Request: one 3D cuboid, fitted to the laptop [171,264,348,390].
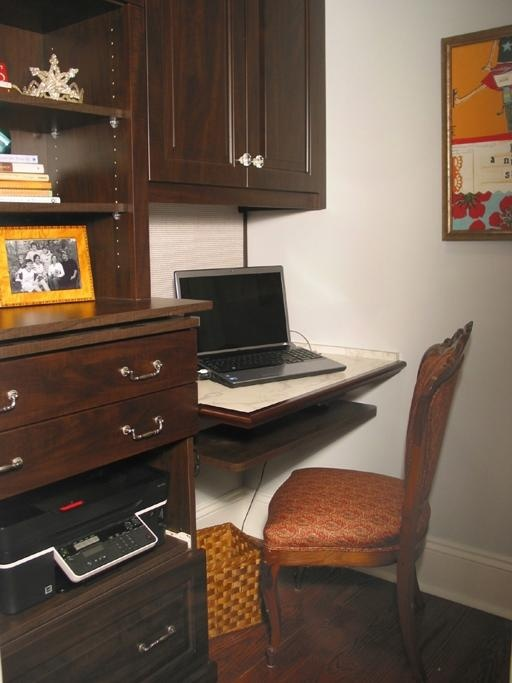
[{"bbox_3d":[0.026,-0.055,1.747,0.491,0.345,0.402,-10,19,-40],"label":"laptop"}]

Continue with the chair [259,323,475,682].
[{"bbox_3d":[0.286,0.289,1.979,0.843,1.430,0.777,5,10,19],"label":"chair"}]
